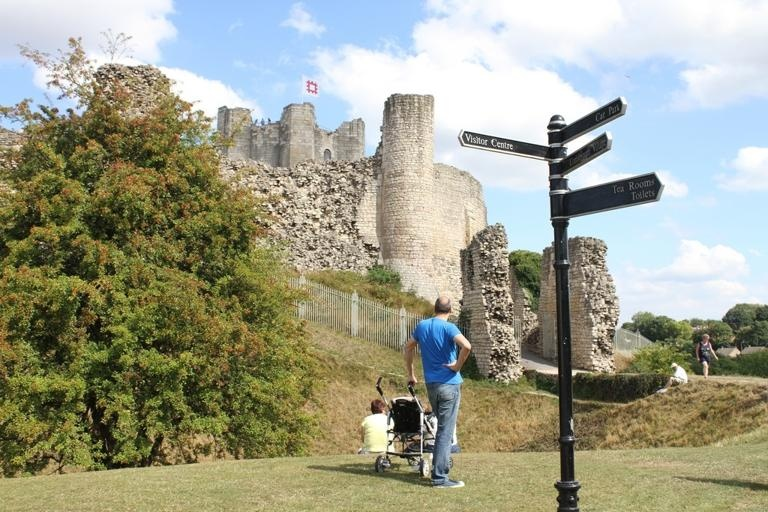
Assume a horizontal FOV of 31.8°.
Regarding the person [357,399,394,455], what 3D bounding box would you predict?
[{"bbox_3d":[-0.272,5.182,41.708,1.116,1.621,1.030,4,4,-2],"label":"person"}]
